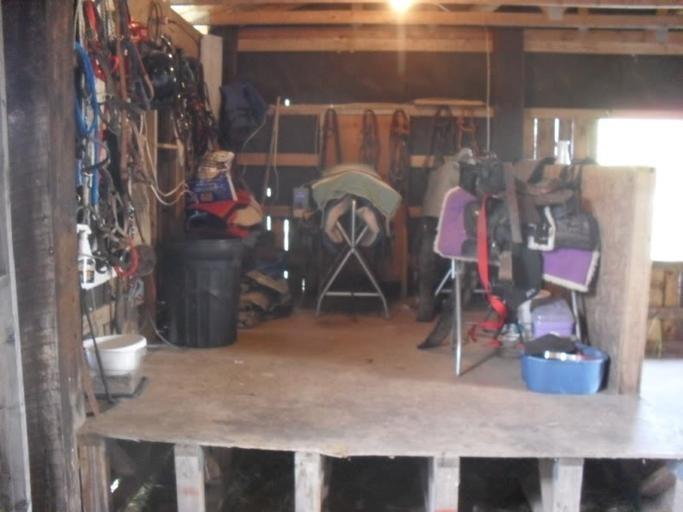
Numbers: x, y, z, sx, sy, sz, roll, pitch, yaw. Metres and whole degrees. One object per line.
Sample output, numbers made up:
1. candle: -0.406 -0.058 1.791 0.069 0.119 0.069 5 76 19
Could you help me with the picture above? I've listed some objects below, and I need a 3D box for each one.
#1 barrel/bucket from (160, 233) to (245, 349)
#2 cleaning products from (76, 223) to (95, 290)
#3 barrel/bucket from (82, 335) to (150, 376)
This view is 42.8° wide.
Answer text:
1. barrel/bucket: -1.031 0.251 6.489 0.605 0.726 0.657 4 6 0
2. cleaning products: -1.516 0.001 5.122 0.077 0.364 0.237 -1 7 11
3. barrel/bucket: -1.380 0.608 5.323 0.268 0.134 0.245 -3 -4 0
